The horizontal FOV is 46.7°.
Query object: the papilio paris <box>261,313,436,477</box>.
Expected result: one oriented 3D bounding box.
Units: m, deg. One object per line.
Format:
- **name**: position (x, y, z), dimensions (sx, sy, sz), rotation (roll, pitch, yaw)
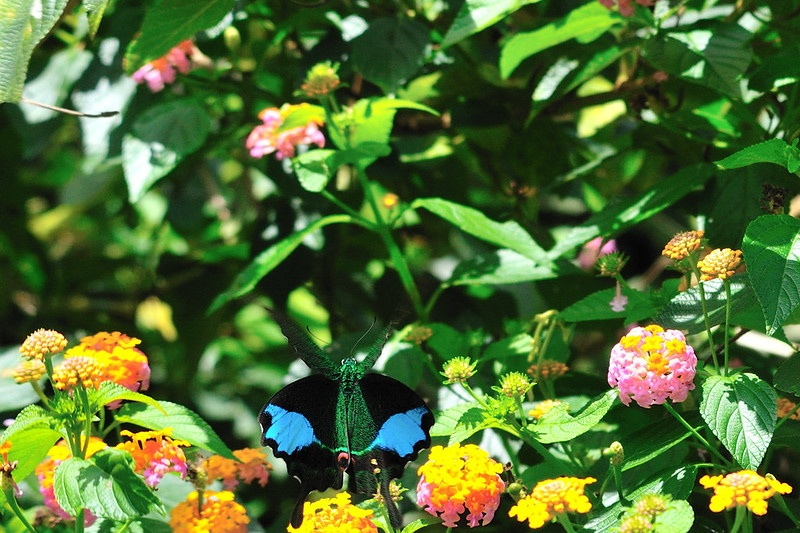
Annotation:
- **papilio paris**: position (-0.129, 0.353, 2.220), dimensions (0.355, 0.421, 0.192), rotation (0, 10, 10)
